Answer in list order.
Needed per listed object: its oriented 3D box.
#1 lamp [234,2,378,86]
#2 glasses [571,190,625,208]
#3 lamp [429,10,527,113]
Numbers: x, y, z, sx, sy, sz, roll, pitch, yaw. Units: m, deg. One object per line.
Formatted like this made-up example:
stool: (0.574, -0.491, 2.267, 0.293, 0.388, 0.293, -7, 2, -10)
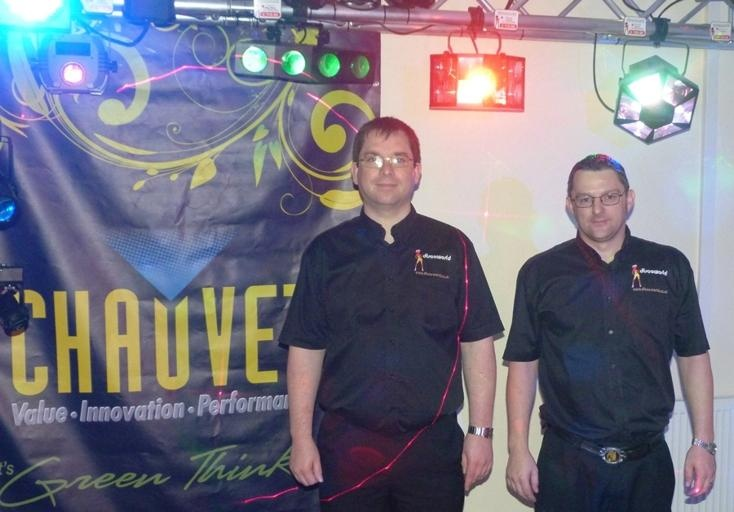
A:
lamp: (-0.403, -1.342, 5.099, 0.986, 0.381, 0.140, -1, 1, -8)
glasses: (1.466, -0.350, 4.798, 0.301, 0.099, 0.061, -1, 1, 4)
lamp: (0.737, -1.308, 5.148, 0.711, 0.688, 0.273, 0, 8, -2)
